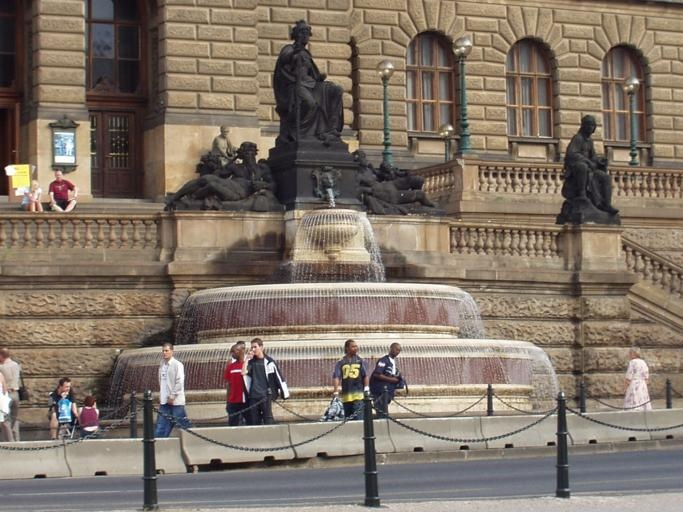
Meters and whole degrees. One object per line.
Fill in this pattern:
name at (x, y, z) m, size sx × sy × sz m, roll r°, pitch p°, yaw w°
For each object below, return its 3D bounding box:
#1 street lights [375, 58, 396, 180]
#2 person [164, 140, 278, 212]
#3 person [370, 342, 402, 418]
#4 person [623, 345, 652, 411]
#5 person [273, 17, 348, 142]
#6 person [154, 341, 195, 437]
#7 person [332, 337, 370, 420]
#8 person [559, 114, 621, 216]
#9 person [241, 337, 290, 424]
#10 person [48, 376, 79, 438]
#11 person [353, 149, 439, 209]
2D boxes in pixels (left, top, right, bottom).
street lights at (1.162, -3.571, 53.925) m, size 0.553 × 2.762 × 0.505 m, roll -1°, pitch 1°, yaw 19°
person at (-2.523, -1.634, 44.435) m, size 2.069 × 1.088 × 1.498 m, roll 0°, pitch 0°, yaw -22°
person at (0.873, 2.384, 37.671) m, size 0.654 × 1.473 × 0.565 m, roll 2°, pitch 7°, yaw -25°
person at (5.973, 2.544, 42.055) m, size 0.581 × 1.202 × 0.557 m, roll 4°, pitch -1°, yaw -44°
person at (-0.737, -3.648, 44.729) m, size 1.430 × 2.673 × 0.933 m, roll -3°, pitch 5°, yaw -3°
person at (-3.036, 2.443, 37.564) m, size 0.674 × 1.671 × 0.598 m, roll -1°, pitch 2°, yaw -35°
person at (0.152, 2.229, 37.165) m, size 0.601 × 1.343 × 0.456 m, roll -2°, pitch 5°, yaw 13°
person at (5.540, -1.860, 46.453) m, size 1.106 × 2.362 × 1.230 m, roll 3°, pitch -2°, yaw -32°
person at (-1.378, 2.288, 37.283) m, size 0.762 × 1.535 × 0.509 m, roll -3°, pitch 5°, yaw -3°
person at (-5.237, 2.893, 39.384) m, size 0.585 × 1.265 × 0.509 m, roll 1°, pitch 3°, yaw -23°
person at (1.095, -1.480, 45.293) m, size 1.203 × 1.458 × 1.317 m, roll -8°, pitch 6°, yaw -40°
